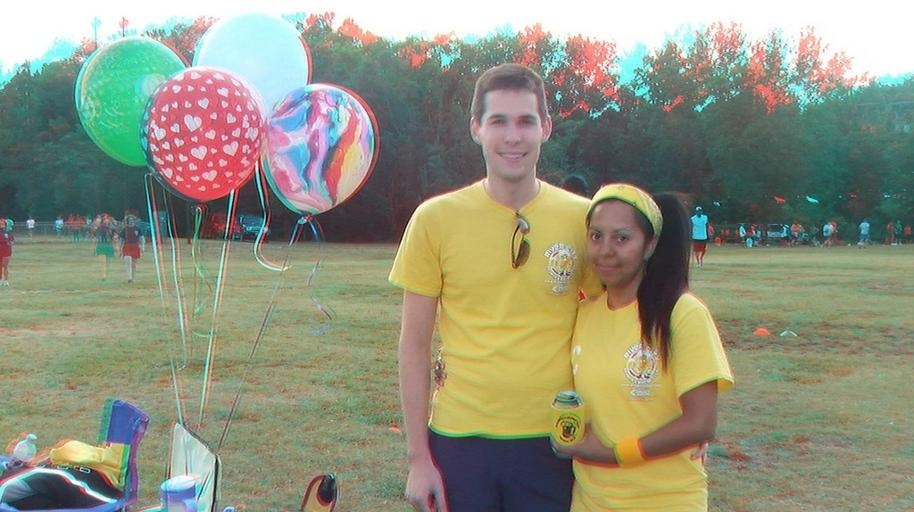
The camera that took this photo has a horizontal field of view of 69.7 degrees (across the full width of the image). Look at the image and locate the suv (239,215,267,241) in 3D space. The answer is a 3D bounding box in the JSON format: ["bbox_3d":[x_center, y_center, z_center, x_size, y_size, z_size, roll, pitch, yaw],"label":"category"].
[{"bbox_3d":[-10.498,-1.448,33.345,1.101,1.223,2.651,-5,14,-20],"label":"suv"}]

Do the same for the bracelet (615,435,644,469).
[{"bbox_3d":[1.470,1.686,5.781,0.274,0.244,0.226,-13,10,1],"label":"bracelet"}]

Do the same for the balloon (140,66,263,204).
[{"bbox_3d":[-2.719,-1.368,7.502,1.376,1.519,1.329,4,11,18],"label":"balloon"}]

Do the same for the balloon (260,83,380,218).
[{"bbox_3d":[-1.748,-1.265,8.168,1.553,1.753,1.513,5,-14,-21],"label":"balloon"}]
